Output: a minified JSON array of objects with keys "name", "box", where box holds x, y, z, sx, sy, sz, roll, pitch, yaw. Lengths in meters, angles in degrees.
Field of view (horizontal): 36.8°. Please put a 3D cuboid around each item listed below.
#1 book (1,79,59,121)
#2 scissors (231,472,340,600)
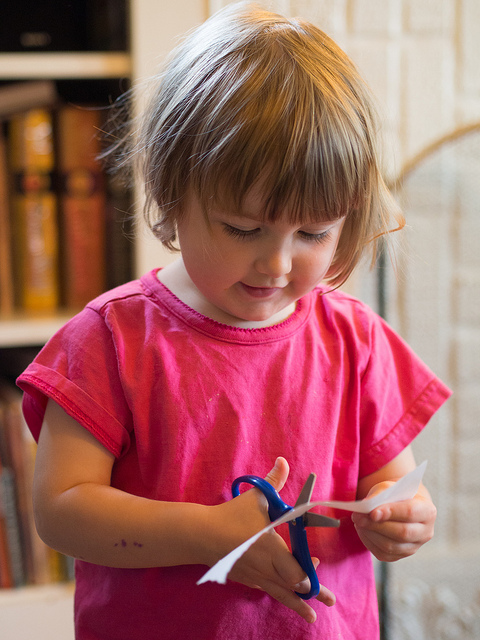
[{"name":"book","box":[-0.336,-0.348,1.142,0.088,0.061,0.023,-3,5,-16]},{"name":"scissors","box":[0.049,0.180,0.653,0.025,0.111,0.114,-11,32,19]}]
